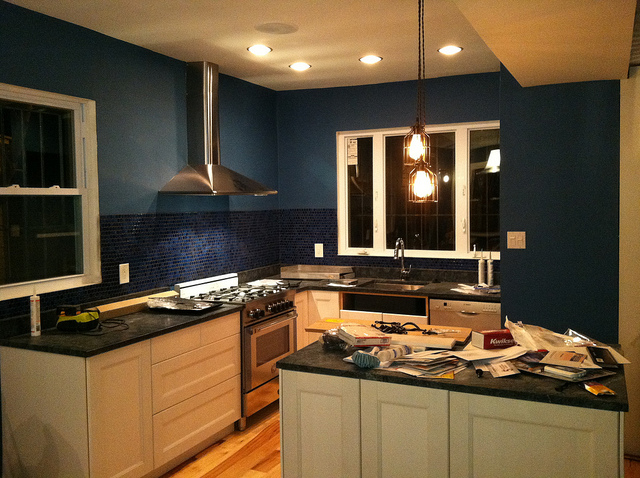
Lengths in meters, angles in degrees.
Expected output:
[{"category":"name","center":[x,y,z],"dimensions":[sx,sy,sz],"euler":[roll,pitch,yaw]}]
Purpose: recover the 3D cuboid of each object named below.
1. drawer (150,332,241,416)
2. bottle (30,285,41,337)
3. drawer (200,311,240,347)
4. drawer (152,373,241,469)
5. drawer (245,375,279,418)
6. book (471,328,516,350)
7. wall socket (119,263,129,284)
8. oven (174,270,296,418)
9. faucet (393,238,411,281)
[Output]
[{"category":"drawer","center":[-1.025,0.921,3.963],"dimensions":[0.366,0.350,0.734],"euler":[-2,0,25]},{"category":"bottle","center":[-1.936,0.513,3.493],"dimensions":[0.066,0.274,0.158],"euler":[-5,6,-30]},{"category":"drawer","center":[-0.815,0.698,4.123],"dimensions":[0.197,0.130,0.289],"euler":[2,6,31]},{"category":"drawer","center":[-0.997,1.348,3.972],"dimensions":[0.388,0.352,0.780],"euler":[-2,2,26]},{"category":"drawer","center":[-0.523,1.398,4.575],"dimensions":[0.277,0.129,0.553],"euler":[-8,1,26]},{"category":"book","center":[0.969,0.558,2.858],"dimensions":[0.247,0.094,0.079],"euler":[0,-2,-14]},{"category":"wall socket","center":[-1.575,0.275,4.137],"dimensions":[0.023,0.159,0.097],"euler":[1,6,26]},{"category":"oven","center":[-0.731,0.879,5.317],"dimensions":[1.142,1.724,1.214],"euler":[-1,2,23]},{"category":"faucet","center":[0.878,0.218,5.483],"dimensions":[0.186,0.443,0.191],"euler":[0,6,9]}]
